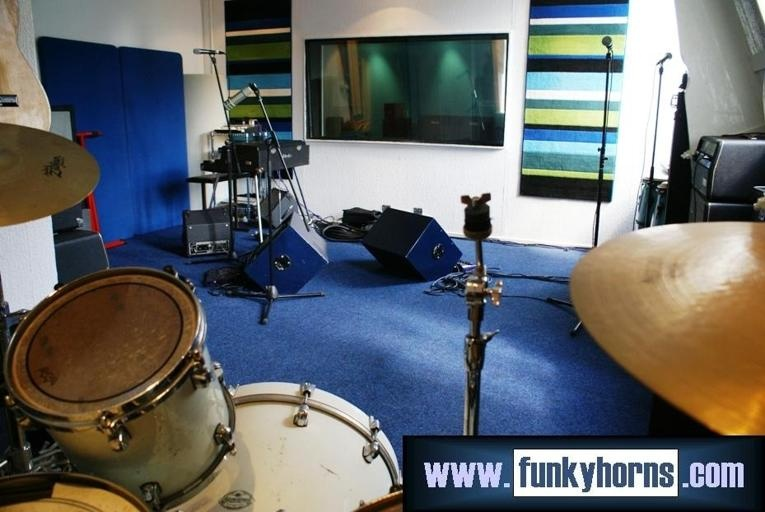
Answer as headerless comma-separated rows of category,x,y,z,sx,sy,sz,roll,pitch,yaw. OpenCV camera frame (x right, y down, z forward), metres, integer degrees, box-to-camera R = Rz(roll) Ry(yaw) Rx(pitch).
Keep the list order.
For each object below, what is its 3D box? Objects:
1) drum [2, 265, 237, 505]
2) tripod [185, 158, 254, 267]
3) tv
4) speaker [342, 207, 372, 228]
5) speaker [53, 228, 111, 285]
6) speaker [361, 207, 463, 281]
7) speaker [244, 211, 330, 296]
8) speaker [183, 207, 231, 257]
drum,-0.681,0.399,1.769,0.630,0.617,0.670,-11,48,10
tripod,-1.645,-0.441,5.270,0.587,0.809,0.599,-2,-4,31
tv,0.237,-1.753,5.890,2.154,1.185,0.113,1,6,7
speaker,-0.257,-0.426,6.032,0.265,0.108,0.200,9,15,41
speaker,-1.988,0.000,3.577,0.243,0.243,0.349,2,14,11
speaker,0.249,-0.116,4.767,0.639,0.525,0.747,-11,16,-37
speaker,-0.757,0.064,4.340,0.573,0.571,0.656,-28,12,3
speaker,-1.677,-0.253,5.241,0.402,0.425,0.413,-6,4,-26
